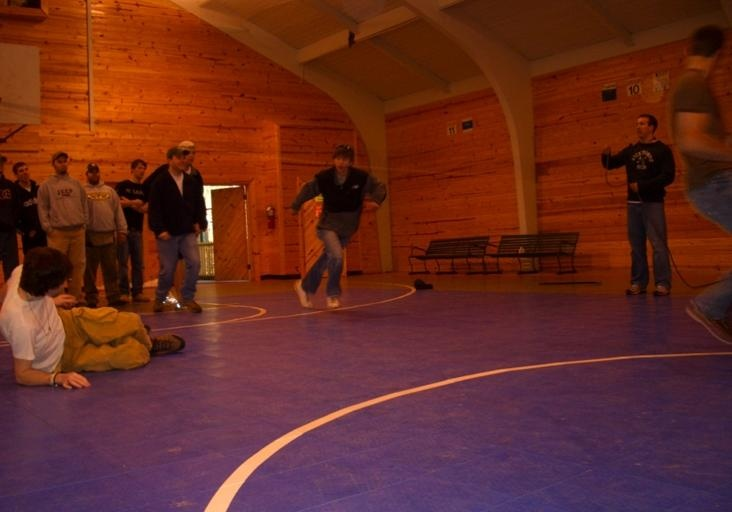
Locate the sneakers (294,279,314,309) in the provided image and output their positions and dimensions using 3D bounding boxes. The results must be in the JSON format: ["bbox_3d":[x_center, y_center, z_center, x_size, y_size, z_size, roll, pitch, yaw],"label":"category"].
[{"bbox_3d":[-0.817,0.519,7.019,0.197,0.468,0.160,-9,12,27],"label":"sneakers"}]

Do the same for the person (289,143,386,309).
[{"bbox_3d":[-0.333,-0.376,6.735,1.179,2.059,0.944,-1,2,12],"label":"person"}]

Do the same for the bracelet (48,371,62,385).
[{"bbox_3d":[-1.860,0.747,3.237,0.054,0.078,0.077,1,-4,-22],"label":"bracelet"}]

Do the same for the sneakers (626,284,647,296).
[{"bbox_3d":[3.462,0.451,6.955,0.362,0.148,0.119,10,-13,-34],"label":"sneakers"}]

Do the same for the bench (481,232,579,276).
[{"bbox_3d":[3.831,-0.071,12.587,2.073,0.969,1.511,0,2,29],"label":"bench"}]

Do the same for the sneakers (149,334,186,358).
[{"bbox_3d":[-1.441,0.685,4.081,0.326,0.107,0.126,-4,8,-4],"label":"sneakers"}]

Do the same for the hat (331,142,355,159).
[{"bbox_3d":[-0.263,-1.240,6.372,0.183,0.206,0.312,-1,2,9],"label":"hat"}]

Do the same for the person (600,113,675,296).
[{"bbox_3d":[3.456,-0.634,6.787,0.515,2.248,0.832,-3,3,-43],"label":"person"}]

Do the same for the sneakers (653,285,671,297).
[{"bbox_3d":[3.601,0.430,6.577,0.104,0.111,0.290,-6,-14,42],"label":"sneakers"}]

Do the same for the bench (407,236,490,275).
[{"bbox_3d":[2.175,-0.010,13.813,0.891,0.965,2.340,7,-7,-39],"label":"bench"}]
